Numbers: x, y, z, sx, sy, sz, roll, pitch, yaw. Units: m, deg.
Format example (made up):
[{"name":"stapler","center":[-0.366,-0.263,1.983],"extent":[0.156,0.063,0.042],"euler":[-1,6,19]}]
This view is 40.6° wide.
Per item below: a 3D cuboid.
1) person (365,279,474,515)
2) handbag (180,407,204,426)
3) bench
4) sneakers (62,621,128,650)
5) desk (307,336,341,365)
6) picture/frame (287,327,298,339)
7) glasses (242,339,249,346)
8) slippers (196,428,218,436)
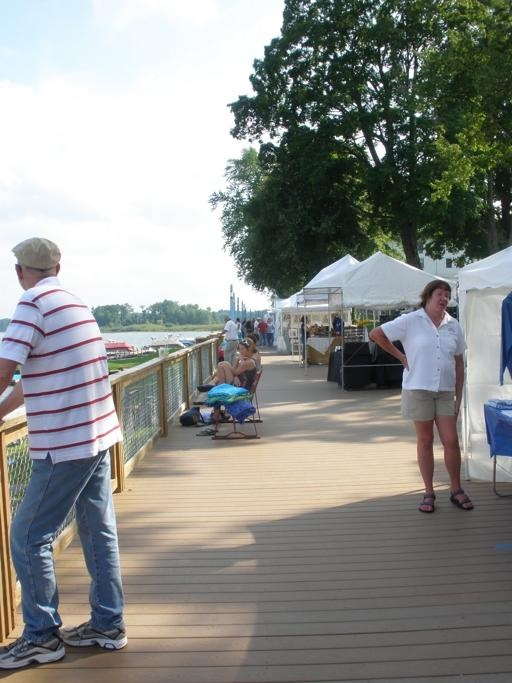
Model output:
[{"name":"person","center":[1.224,0.394,5.009],"extent":[0.722,1.693,0.457],"euler":[-3,2,-3]},{"name":"handbag","center":[-0.928,1.081,9.962],"extent":[0.295,0.161,0.331],"euler":[-3,2,-5]},{"name":"bench","center":[-0.268,0.761,9.108],"extent":[0.711,0.740,1.565],"euler":[1,2,1]},{"name":"sneakers","center":[-0.716,1.284,3.095],"extent":[0.300,0.136,0.109],"euler":[5,-9,3]},{"name":"desk","center":[2.021,0.248,22.400],"extent":[0.968,0.569,0.944],"euler":[-2,4,-6]},{"name":"picture/frame","center":[1.736,-0.401,31.991],"extent":[0.473,0.795,0.485],"euler":[0,-1,-17]},{"name":"glasses","center":[-0.141,0.008,9.757],"extent":[0.126,0.087,0.161],"euler":[4,-2,-21]},{"name":"slippers","center":[-0.626,1.180,9.092],"extent":[0.195,0.060,0.105],"euler":[1,-2,-28]}]
